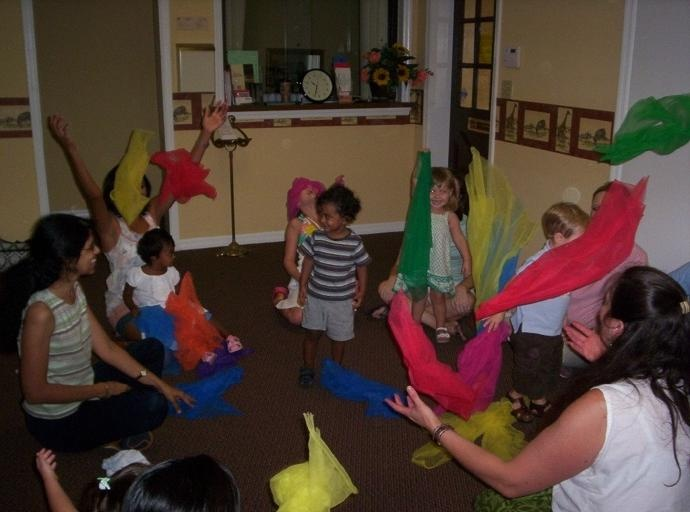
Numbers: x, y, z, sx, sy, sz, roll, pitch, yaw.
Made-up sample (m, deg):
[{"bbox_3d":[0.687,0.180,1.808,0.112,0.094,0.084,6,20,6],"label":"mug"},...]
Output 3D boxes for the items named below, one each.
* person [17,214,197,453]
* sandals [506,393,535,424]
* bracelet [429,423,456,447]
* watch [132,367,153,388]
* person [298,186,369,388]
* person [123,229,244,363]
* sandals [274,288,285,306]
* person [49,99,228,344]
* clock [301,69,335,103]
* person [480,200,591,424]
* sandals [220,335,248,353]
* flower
[{"bbox_3d":[-1.168,0.402,2.496,0.684,1.259,0.472,-13,19,-40],"label":"person"},{"bbox_3d":[1.004,0.877,2.991,0.085,0.078,0.176,-20,46,-14],"label":"sandals"},{"bbox_3d":[0.293,0.581,1.625,0.074,0.037,0.068,-38,19,11],"label":"bracelet"},{"bbox_3d":[-0.995,0.582,2.604,0.077,0.123,0.049,-17,16,0],"label":"watch"},{"bbox_3d":[-0.076,0.197,3.241,0.383,1.318,0.271,5,24,-1],"label":"person"},{"bbox_3d":[-1.066,0.253,3.438,0.740,0.876,0.533,15,14,22],"label":"person"},{"bbox_3d":[-0.472,0.297,3.869,0.067,0.093,0.113,1,-12,-25],"label":"sandals"},{"bbox_3d":[-1.293,-0.148,3.447,0.809,1.583,1.166,8,18,16],"label":"person"},{"bbox_3d":[-0.286,-1.792,5.539,0.307,0.356,0.073,-11,12,-19],"label":"clock"},{"bbox_3d":[0.989,0.303,2.756,0.330,1.218,0.769,16,31,42],"label":"person"},{"bbox_3d":[-0.743,0.608,3.541,0.080,0.061,0.138,-1,23,-21],"label":"sandals"},{"bbox_3d":[0.505,-1.952,5.498,0.592,0.488,0.578,-8,19,-21],"label":"flower"}]
